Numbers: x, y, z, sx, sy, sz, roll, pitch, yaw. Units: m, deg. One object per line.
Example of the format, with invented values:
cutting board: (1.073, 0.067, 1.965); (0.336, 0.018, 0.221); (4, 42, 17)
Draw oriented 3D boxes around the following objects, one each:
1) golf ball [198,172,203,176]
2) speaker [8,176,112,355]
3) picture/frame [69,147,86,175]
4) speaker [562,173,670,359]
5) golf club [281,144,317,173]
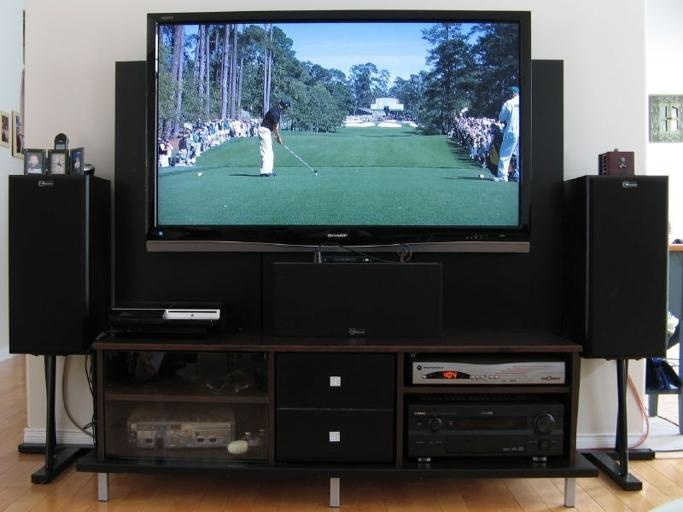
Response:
golf ball: (-0.797, -0.460, 3.735); (0.032, 0.029, 0.016); (1, -3, 0)
speaker: (-1.535, 0.038, 3.619); (0.572, 0.961, 0.307); (-5, 9, -19)
picture/frame: (-1.450, -0.518, 3.629); (0.081, 0.144, 0.147); (-5, 9, -20)
speaker: (1.469, 0.050, 3.598); (0.525, 0.969, 0.354); (1, 9, 20)
golf club: (-0.251, -0.556, 3.732); (0.225, 0.031, 0.040); (38, -30, -20)
